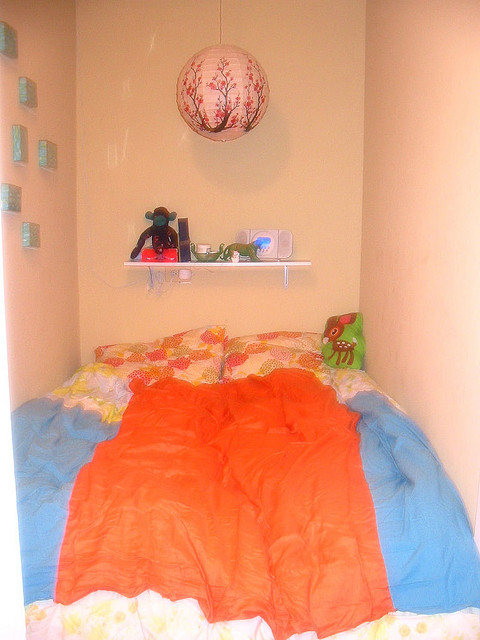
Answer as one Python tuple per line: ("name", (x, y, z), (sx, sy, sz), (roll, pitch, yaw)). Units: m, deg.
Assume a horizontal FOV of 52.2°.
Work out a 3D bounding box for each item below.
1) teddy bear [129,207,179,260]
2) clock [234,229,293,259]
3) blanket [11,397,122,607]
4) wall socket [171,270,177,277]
("teddy bear", (-0.465, -0.470, 2.669), (0.284, 0.279, 0.107), (2, 8, 20))
("clock", (0.139, -0.427, 2.769), (0.330, 0.166, 0.098), (-1, 7, -1))
("blanket", (-0.485, 0.498, 1.462), (0.306, 0.443, 0.511), (-1, 9, -12))
("wall socket", (-0.382, -0.268, 2.835), (0.030, 0.032, 0.012), (0, -3, 10))
